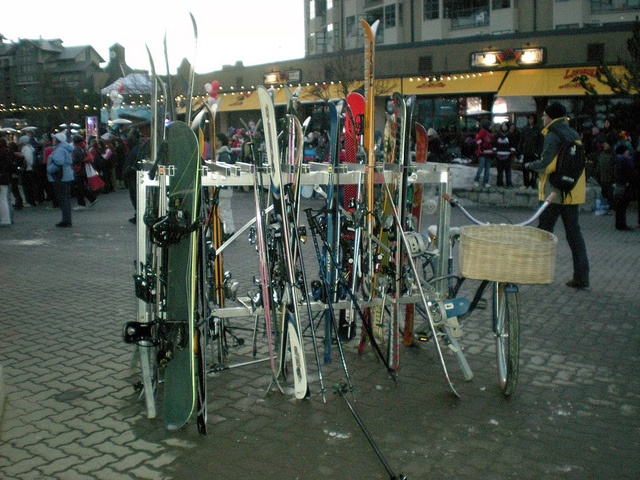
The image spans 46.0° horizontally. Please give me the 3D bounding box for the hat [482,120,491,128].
[{"bbox_3d":[4.003,-2.780,18.143,0.144,0.213,0.182,20,-11,21],"label":"hat"}]

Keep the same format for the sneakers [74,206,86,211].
[{"bbox_3d":[-5.466,-0.718,17.048,0.299,0.141,0.120,1,6,-14],"label":"sneakers"}]

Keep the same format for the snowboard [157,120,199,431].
[{"bbox_3d":[-1.143,0.292,6.204,0.275,2.707,0.215,0,1,1],"label":"snowboard"}]

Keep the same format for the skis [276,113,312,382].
[{"bbox_3d":[-0.212,-0.037,6.771,0.214,2.240,0.219,-3,-1,-33],"label":"skis"}]

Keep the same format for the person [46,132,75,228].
[{"bbox_3d":[-4.904,-1.147,14.261,0.480,1.708,1.089,-5,9,-18],"label":"person"}]

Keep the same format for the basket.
[{"bbox_3d":[1.604,0.113,6.464,0.794,0.433,0.519,0,9,12],"label":"basket"}]

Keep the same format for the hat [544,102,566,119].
[{"bbox_3d":[2.823,-1.556,9.042,0.238,0.198,0.245,1,10,17],"label":"hat"}]

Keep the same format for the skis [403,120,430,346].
[{"bbox_3d":[0.973,-0.287,7.555,0.256,2.680,0.193,-1,4,-36],"label":"skis"}]

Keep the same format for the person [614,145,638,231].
[{"bbox_3d":[5.447,-0.851,13.466,0.349,1.279,0.675,1,9,22],"label":"person"}]

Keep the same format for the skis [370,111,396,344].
[{"bbox_3d":[0.597,-0.146,7.257,0.175,2.416,0.245,1,0,-2],"label":"skis"}]

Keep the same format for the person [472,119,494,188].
[{"bbox_3d":[3.867,-2.046,17.803,0.455,1.499,1.173,0,9,13],"label":"person"}]

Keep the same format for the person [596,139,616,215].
[{"bbox_3d":[5.727,-1.248,15.066,0.277,1.343,1.167,1,10,22],"label":"person"}]

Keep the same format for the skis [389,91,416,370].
[{"bbox_3d":[0.749,-0.123,6.994,0.179,2.607,0.253,1,-3,13],"label":"skis"}]

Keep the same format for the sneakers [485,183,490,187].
[{"bbox_3d":[3.937,-1.293,17.703,0.077,0.097,0.204,-4,8,-34],"label":"sneakers"}]

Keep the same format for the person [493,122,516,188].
[{"bbox_3d":[4.329,-2.015,17.777,0.488,1.516,0.666,0,9,15],"label":"person"}]

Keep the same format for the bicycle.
[{"bbox_3d":[1.319,0.440,7.194,0.987,1.425,2.050,1,3,-6],"label":"bicycle"}]

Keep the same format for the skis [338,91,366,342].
[{"bbox_3d":[0.313,-0.258,7.281,0.217,2.702,0.228,3,-20,-6],"label":"skis"}]

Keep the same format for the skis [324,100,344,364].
[{"bbox_3d":[0.094,-0.290,7.259,0.196,0.266,2.518,-10,-37,-7],"label":"skis"}]

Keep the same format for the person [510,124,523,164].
[{"bbox_3d":[5.022,-2.448,19.350,0.283,1.922,0.293,2,-35,13],"label":"person"}]
